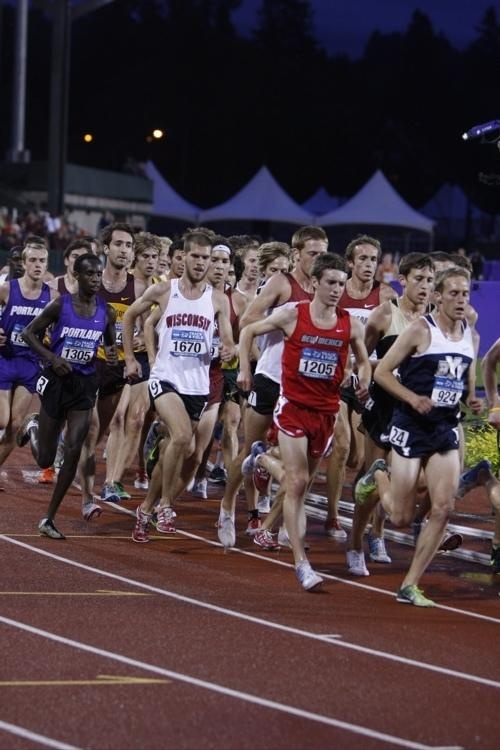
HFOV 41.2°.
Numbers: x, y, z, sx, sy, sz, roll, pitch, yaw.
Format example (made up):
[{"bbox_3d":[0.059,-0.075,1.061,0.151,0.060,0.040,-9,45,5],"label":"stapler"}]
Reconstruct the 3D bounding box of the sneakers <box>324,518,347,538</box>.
[{"bbox_3d":[0.747,1.362,5.830,0.096,0.104,0.253,0,-5,-17],"label":"sneakers"}]

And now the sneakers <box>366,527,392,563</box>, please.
[{"bbox_3d":[1.007,1.319,5.070,0.127,0.134,0.322,2,24,-20],"label":"sneakers"}]

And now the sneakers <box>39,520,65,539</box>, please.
[{"bbox_3d":[-1.496,1.178,5.055,0.191,0.165,0.167,5,-5,-17],"label":"sneakers"}]

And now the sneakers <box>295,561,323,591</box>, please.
[{"bbox_3d":[0.349,1.217,3.989,0.102,0.117,0.264,-9,-7,-10],"label":"sneakers"}]

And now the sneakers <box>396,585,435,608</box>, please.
[{"bbox_3d":[0.971,1.320,3.983,0.274,0.115,0.101,0,0,42],"label":"sneakers"}]

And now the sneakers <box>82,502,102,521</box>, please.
[{"bbox_3d":[-1.303,1.136,5.507,0.095,0.102,0.229,-5,7,-25],"label":"sneakers"}]

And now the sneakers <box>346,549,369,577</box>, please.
[{"bbox_3d":[0.782,1.327,4.691,0.189,0.176,0.129,5,-5,-17],"label":"sneakers"}]

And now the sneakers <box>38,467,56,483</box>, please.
[{"bbox_3d":[-2.206,1.107,7.224,0.113,0.130,0.319,2,-11,3],"label":"sneakers"}]
